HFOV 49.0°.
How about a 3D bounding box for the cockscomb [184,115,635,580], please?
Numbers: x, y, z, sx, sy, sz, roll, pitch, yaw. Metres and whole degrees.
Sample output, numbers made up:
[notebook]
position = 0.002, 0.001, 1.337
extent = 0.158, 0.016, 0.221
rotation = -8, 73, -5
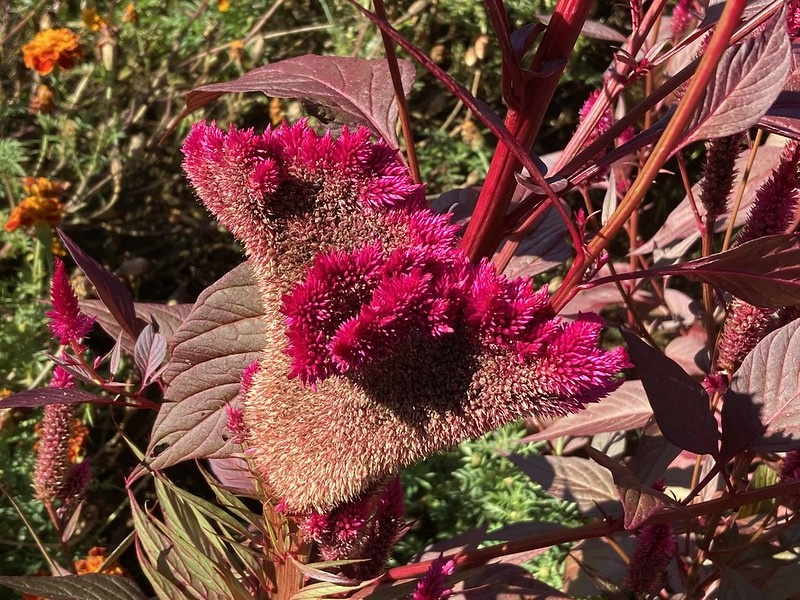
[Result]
[cockscomb]
position = -0.088, 0.066, 1.346
extent = 0.645, 0.388, 0.569
rotation = -6, 56, -33
